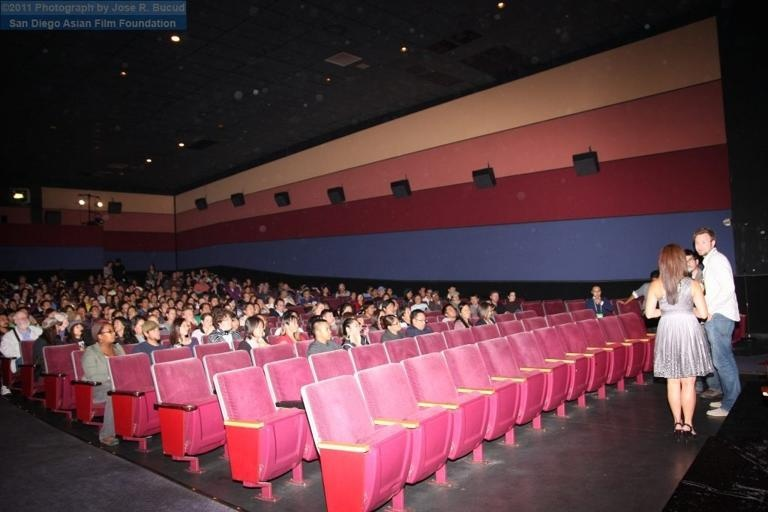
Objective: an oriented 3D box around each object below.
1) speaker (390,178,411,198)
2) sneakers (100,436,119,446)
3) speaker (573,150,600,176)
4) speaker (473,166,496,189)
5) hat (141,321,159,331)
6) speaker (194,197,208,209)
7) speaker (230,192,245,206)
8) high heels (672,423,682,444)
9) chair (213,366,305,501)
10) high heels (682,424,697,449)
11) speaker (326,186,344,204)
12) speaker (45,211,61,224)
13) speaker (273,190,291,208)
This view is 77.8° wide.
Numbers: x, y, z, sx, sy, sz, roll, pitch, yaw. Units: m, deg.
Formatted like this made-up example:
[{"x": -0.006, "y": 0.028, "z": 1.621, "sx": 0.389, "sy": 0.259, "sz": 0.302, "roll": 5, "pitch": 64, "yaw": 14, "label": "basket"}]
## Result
[{"x": 0.519, "y": -1.995, "z": 13.798, "sx": 0.528, "sy": 0.511, "sz": 0.283, "roll": -4, "pitch": 40, "yaw": 17, "label": "speaker"}, {"x": -3.146, "y": 2.107, "z": 5.471, "sx": 0.204, "sy": 0.091, "sz": 0.091, "roll": -2, "pitch": -4, "yaw": 16, "label": "sneakers"}, {"x": 4.703, "y": -2.151, "z": 10.975, "sx": 0.489, "sy": 0.526, "sz": 0.275, "roll": -6, "pitch": 32, "yaw": 14, "label": "speaker"}, {"x": 2.607, "y": -2.008, "z": 12.288, "sx": 0.496, "sy": 0.337, "sz": 0.532, "roll": -5, "pitch": -38, "yaw": 26, "label": "speaker"}, {"x": -2.908, "y": 0.859, "z": 5.929, "sx": 0.150, "sy": 0.147, "sz": 0.122, "roll": -5, "pitch": 10, "yaw": -2, "label": "hat"}, {"x": -7.461, "y": -2.174, "z": 19.547, "sx": 0.513, "sy": 0.497, "sz": 0.141, "roll": -7, "pitch": 10, "yaw": 20, "label": "speaker"}, {"x": -5.494, "y": -2.147, "z": 18.008, "sx": 0.536, "sy": 0.473, "sz": 0.399, "roll": -7, "pitch": 37, "yaw": -6, "label": "speaker"}, {"x": 3.073, "y": 1.839, "z": 5.024, "sx": 0.081, "sy": 0.237, "sz": 0.101, "roll": -2, "pitch": -8, "yaw": 17, "label": "high heels"}, {"x": -1.091, "y": 1.610, "z": 4.414, "sx": 0.582, "sy": 1.136, "sz": 0.663, "roll": -7, "pitch": -3, "yaw": 42, "label": "chair"}, {"x": 3.179, "y": 1.846, "z": 4.959, "sx": 0.101, "sy": 0.147, "sz": 0.313, "roll": -3, "pitch": 0, "yaw": 32, "label": "high heels"}, {"x": -1.495, "y": -1.927, "z": 15.046, "sx": 0.581, "sy": 0.492, "sz": 0.442, "roll": -10, "pitch": 25, "yaw": 6, "label": "speaker"}, {"x": -13.067, "y": -1.561, "z": 18.780, "sx": 0.263, "sy": 0.501, "sz": 0.502, "roll": 5, "pitch": 4, "yaw": 43, "label": "speaker"}, {"x": -3.503, "y": -1.956, "z": 16.522, "sx": 0.573, "sy": 0.437, "sz": 0.489, "roll": -11, "pitch": -37, "yaw": 3, "label": "speaker"}]
